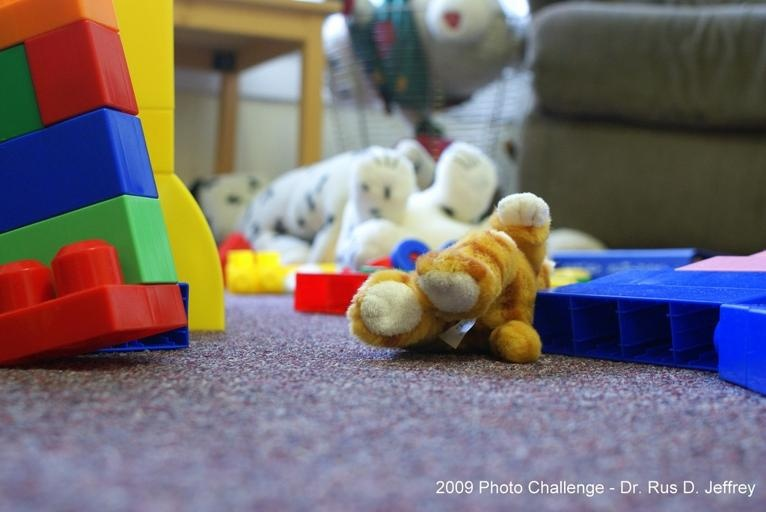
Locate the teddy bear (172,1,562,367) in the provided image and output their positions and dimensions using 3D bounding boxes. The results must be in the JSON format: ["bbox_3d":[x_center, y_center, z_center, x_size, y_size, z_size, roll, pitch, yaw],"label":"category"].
[{"bbox_3d":[-0.023,-0.078,1.075,0.468,0.189,0.382,-4,-15,-4],"label":"teddy bear"}]
